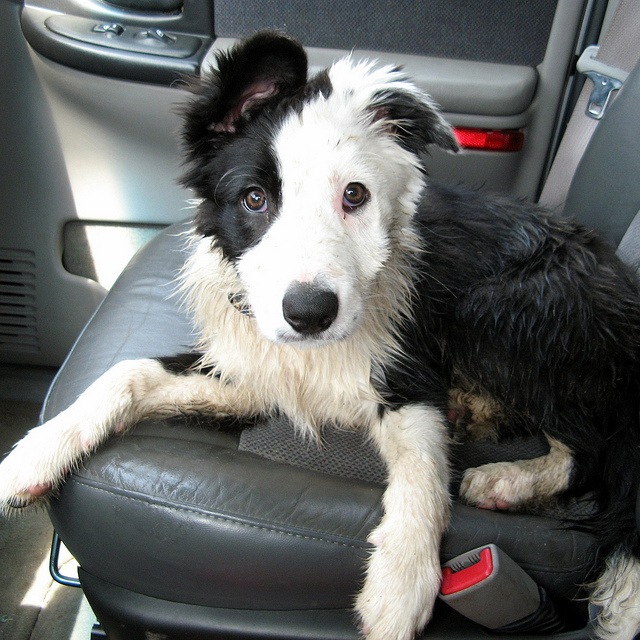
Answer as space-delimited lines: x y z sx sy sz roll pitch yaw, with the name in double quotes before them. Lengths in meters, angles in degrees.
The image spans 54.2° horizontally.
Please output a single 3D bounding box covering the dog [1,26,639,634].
"dog" 0.174 -0.045 1.699 1.417 1.279 1.125 10 17 10
